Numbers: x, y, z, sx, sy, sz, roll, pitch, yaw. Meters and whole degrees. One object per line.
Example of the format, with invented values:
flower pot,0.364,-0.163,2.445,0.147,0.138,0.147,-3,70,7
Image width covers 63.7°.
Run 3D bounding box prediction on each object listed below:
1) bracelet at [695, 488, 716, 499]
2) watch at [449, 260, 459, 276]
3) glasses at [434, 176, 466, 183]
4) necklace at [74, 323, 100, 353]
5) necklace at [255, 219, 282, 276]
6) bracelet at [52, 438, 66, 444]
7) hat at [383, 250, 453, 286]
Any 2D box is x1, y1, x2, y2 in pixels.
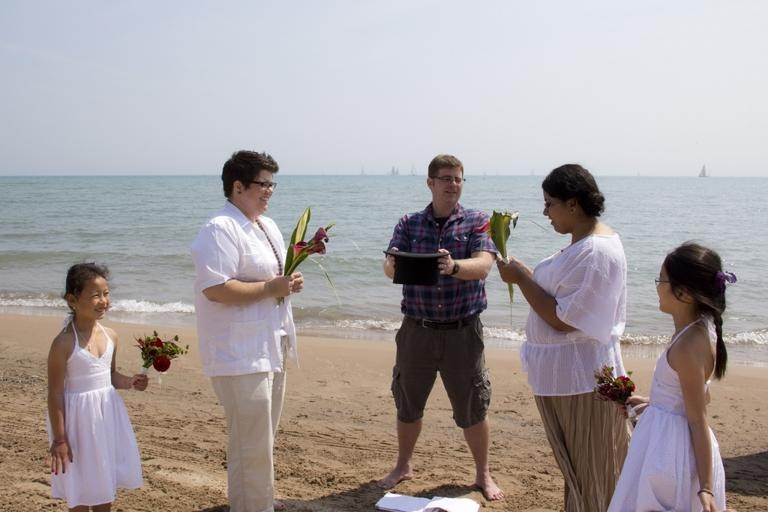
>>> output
bracelet,2.154,1.558,4.131,0.069,0.028,0.070,10,16,38
watch,0.629,0.106,5.432,0.105,0.113,0.076,5,-6,36
glasses,0.640,-0.731,5.886,0.307,0.071,0.138,-1,11,-11
necklace,-2.435,0.660,5.077,0.229,0.224,0.093,-3,-9,-25
necklace,-1.034,-0.082,5.501,0.117,0.433,0.330,-17,-2,28
bracelet,-2.570,1.447,4.893,0.066,0.016,0.048,0,-4,-13
hat,0.288,0.101,5.432,0.550,0.340,0.292,3,11,7
